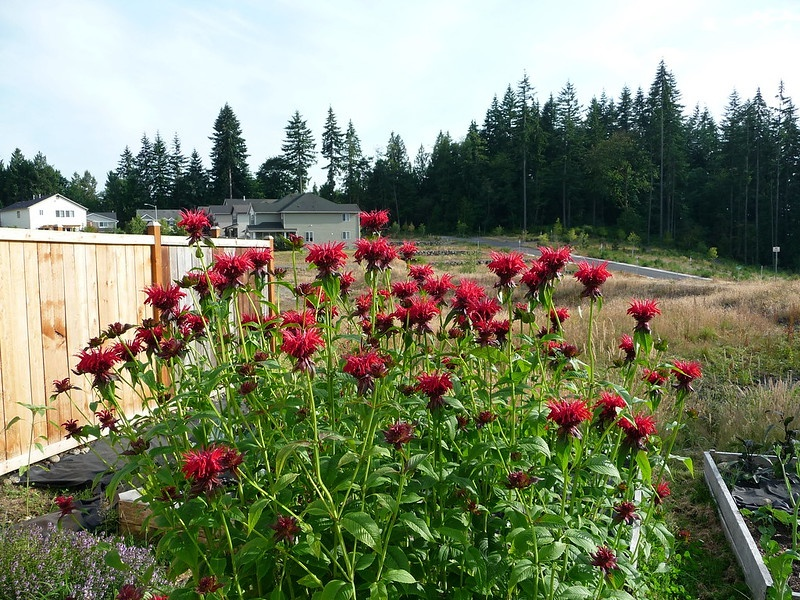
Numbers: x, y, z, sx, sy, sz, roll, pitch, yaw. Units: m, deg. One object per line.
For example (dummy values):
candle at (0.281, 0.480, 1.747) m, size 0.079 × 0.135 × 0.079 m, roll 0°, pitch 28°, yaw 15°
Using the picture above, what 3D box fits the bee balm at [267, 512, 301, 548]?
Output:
bee balm at (-0.715, 1.425, 5.048) m, size 0.155 × 0.124 × 0.182 m, roll 17°, pitch 30°, yaw 2°

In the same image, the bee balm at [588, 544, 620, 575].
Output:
bee balm at (1.325, 1.654, 5.211) m, size 0.157 × 0.113 × 0.160 m, roll -9°, pitch 18°, yaw -34°
